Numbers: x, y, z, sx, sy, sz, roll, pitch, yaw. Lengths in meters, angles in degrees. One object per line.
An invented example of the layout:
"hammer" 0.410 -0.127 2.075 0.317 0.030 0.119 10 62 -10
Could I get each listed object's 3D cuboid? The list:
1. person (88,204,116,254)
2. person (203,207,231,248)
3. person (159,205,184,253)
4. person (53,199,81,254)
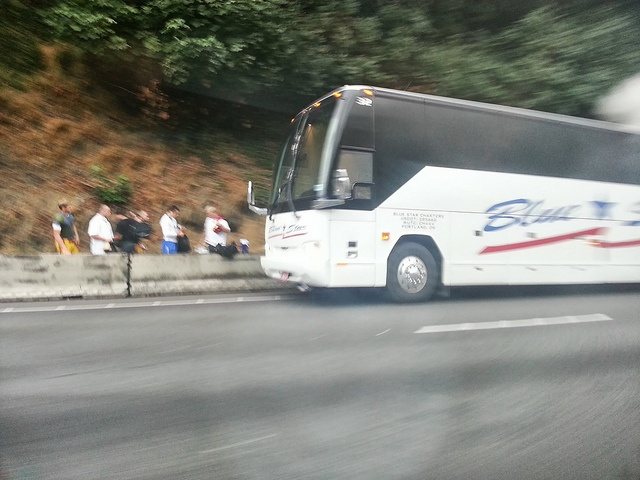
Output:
"person" -5.207 -0.266 12.914 0.511 1.113 1.737 -2 8 -22
"person" -2.431 -0.299 12.763 0.571 0.896 1.592 -1 7 -10
"person" -3.576 -0.242 13.099 0.476 1.140 1.266 -1 7 -14
"person" -5.786 -0.263 12.392 0.467 1.210 1.094 -3 8 -24
